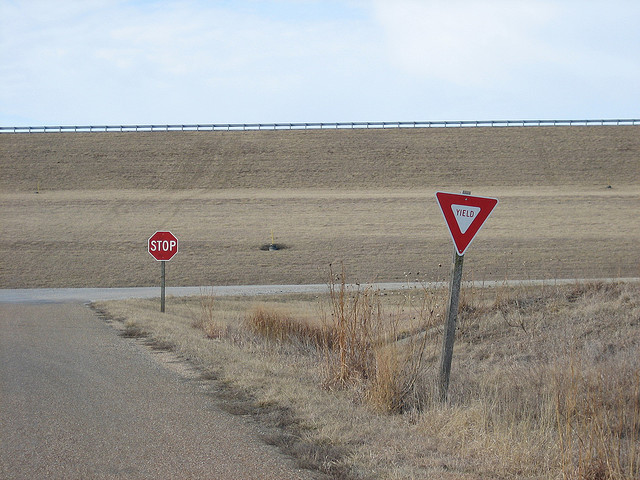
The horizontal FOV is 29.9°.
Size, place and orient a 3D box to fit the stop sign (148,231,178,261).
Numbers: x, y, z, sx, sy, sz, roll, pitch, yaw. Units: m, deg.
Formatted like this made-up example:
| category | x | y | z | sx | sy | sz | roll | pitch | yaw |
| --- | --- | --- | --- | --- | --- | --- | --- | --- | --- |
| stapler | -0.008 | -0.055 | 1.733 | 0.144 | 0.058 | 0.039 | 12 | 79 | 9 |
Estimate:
| category | x | y | z | sx | sy | sz | roll | pitch | yaw |
| --- | --- | --- | --- | --- | --- | --- | --- | --- | --- |
| stop sign | -5.473 | 0.229 | 41.698 | 1.158 | 1.361 | 0.207 | 0 | 4 | 1 |
